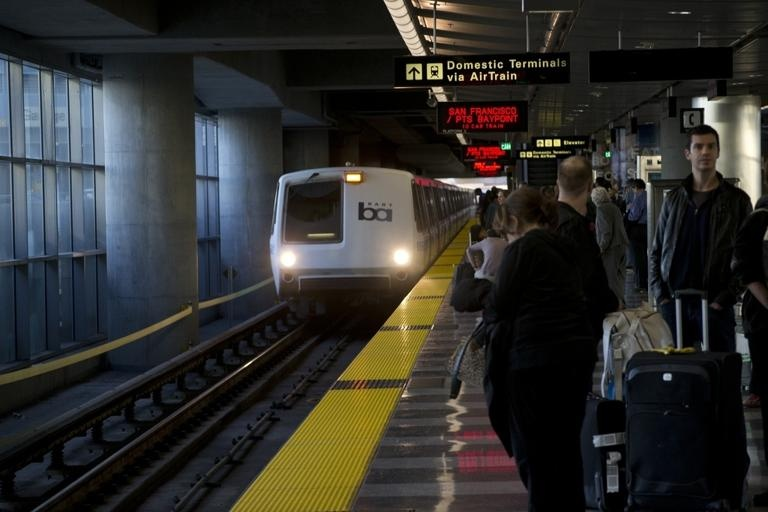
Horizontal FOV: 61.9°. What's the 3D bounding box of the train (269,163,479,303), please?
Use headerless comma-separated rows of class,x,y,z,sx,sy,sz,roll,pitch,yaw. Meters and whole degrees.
train,0.128,-0.671,14.899,2.510,2.775,5.361,4,8,31

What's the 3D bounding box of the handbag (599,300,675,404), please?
handbag,1.997,0.819,4.862,0.607,0.754,0.553,-15,-40,30
